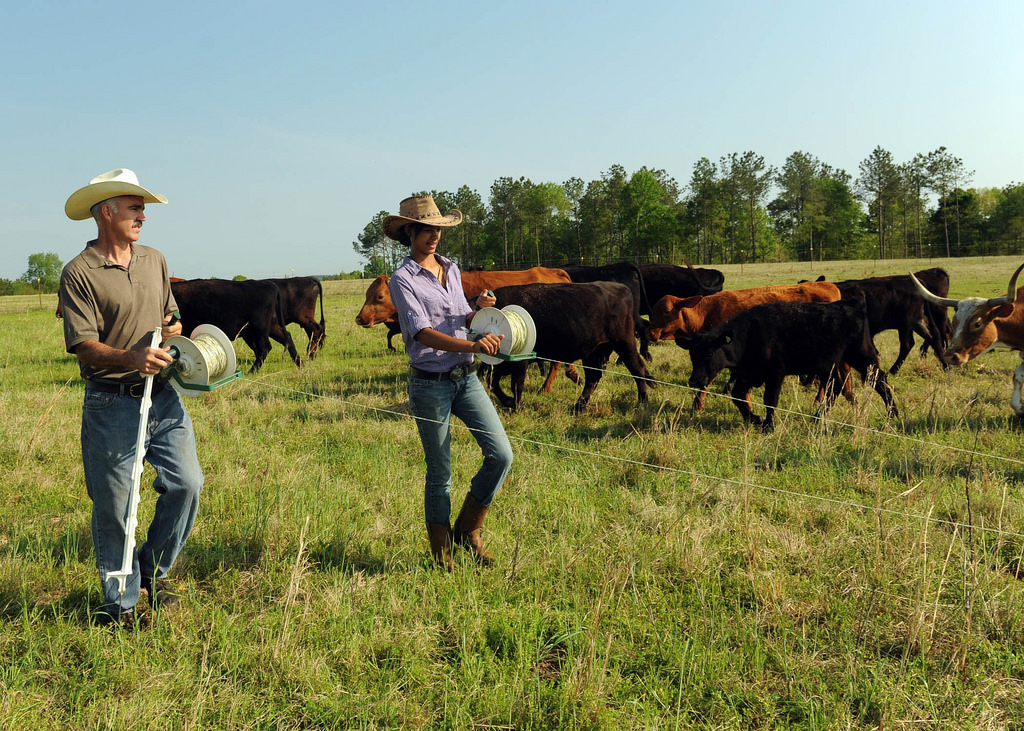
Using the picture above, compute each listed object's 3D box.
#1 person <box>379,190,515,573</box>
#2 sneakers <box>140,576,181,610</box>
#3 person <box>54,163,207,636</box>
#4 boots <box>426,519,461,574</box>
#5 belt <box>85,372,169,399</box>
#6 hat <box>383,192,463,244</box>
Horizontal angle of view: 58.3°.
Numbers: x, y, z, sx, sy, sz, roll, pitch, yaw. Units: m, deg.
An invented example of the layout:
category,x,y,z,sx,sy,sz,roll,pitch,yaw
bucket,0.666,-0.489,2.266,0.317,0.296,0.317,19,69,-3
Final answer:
category,x,y,z,sx,sy,sz,roll,pitch,yaw
person,-0.561,0.119,7.766,1.019,3.104,0.756,-1,6,-9
sneakers,-2.818,1.811,7.313,0.299,0.225,0.174,-1,8,-24
person,-2.974,0.246,7.108,0.932,3.460,0.770,-3,7,-29
boots,-0.606,1.527,7.690,0.341,0.561,0.312,-3,-9,-16
belt,-2.979,0.166,7.125,0.623,0.202,0.200,-3,8,-25
hat,-0.760,-1.226,7.656,0.660,0.421,0.655,-1,7,-8
